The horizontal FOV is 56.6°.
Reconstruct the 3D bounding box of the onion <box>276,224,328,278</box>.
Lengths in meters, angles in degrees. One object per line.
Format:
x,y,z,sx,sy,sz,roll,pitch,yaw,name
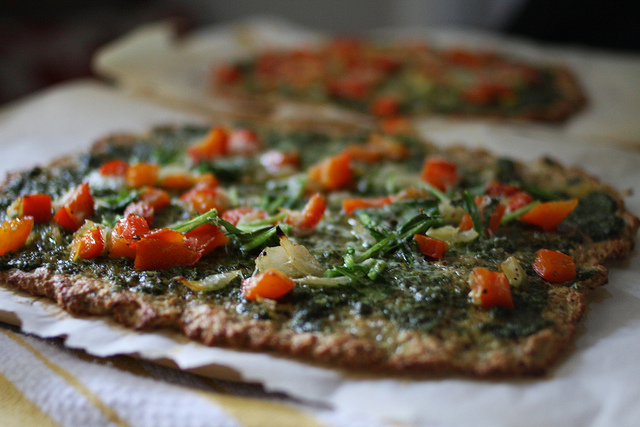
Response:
-0.110,0.206,2.942,0.282,0.058,0.183,45,37,20,onion

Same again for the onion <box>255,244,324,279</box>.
-0.180,0.231,2.920,0.201,0.060,0.203,27,44,7,onion

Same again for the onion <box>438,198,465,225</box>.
0.718,-0.013,3.305,0.133,0.097,0.121,21,15,35,onion
